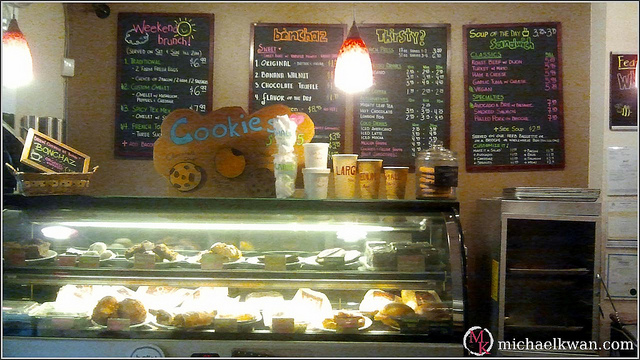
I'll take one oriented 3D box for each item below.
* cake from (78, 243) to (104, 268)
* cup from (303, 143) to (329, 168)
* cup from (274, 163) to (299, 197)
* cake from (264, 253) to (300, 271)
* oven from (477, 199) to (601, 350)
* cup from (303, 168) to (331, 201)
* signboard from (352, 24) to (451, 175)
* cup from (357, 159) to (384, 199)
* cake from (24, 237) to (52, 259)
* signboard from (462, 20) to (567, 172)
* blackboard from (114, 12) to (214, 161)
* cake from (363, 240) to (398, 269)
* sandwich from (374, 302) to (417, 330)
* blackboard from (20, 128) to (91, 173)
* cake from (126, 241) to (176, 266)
[{"bbox_3d":[-1.925,0.629,4.518,0.176,0.207,0.082,2,-16,-8],"label":"cake"},{"bbox_3d":[-0.042,-0.205,4.753,0.209,0.211,0.199,0,-14,0],"label":"cup"},{"bbox_3d":[-0.305,0.000,4.715,0.187,0.298,0.116,0,-16,-3],"label":"cup"},{"bbox_3d":[-0.341,0.680,4.517,0.225,0.072,0.184,0,-1,6],"label":"cake"},{"bbox_3d":[1.983,0.835,4.859,1.046,1.341,0.607,-1,-16,3],"label":"oven"},{"bbox_3d":[-0.042,0.043,4.647,0.214,0.303,0.148,4,-16,-16],"label":"cup"},{"bbox_3d":[0.808,-0.813,5.310,0.996,1.470,0.544,-1,-16,1],"label":"signboard"},{"bbox_3d":[0.438,-0.006,4.779,0.205,0.365,0.138,-1,-16,1],"label":"cup"},{"bbox_3d":[-2.388,0.570,4.520,0.195,0.178,0.043,4,-17,-15],"label":"cake"},{"bbox_3d":[1.916,-0.831,5.316,1.009,1.466,0.428,-1,-17,3],"label":"signboard"},{"bbox_3d":[-1.552,-0.930,5.332,0.961,1.439,0.499,2,-16,-7],"label":"blackboard"},{"bbox_3d":[0.512,0.626,4.541,0.282,0.242,0.073,-1,-17,4],"label":"cake"},{"bbox_3d":[0.613,1.119,4.441,0.342,0.118,0.201,-4,16,-1],"label":"sandwich"},{"bbox_3d":[-2.292,-0.190,4.677,0.795,0.364,0.055,25,23,23],"label":"blackboard"},{"bbox_3d":[-1.451,0.587,4.624,0.444,0.090,0.349,-5,16,-32],"label":"cake"}]
